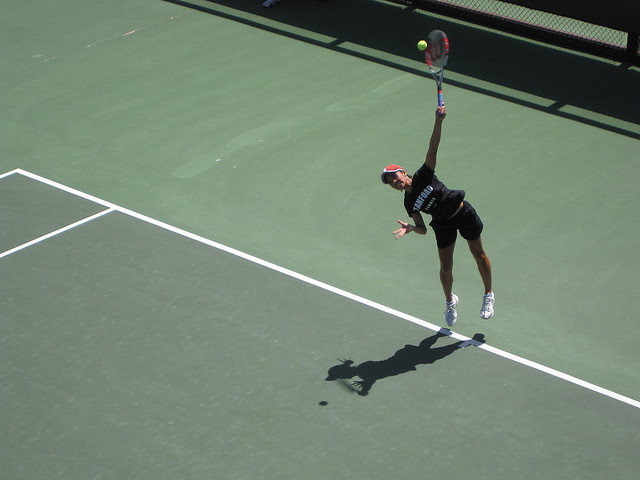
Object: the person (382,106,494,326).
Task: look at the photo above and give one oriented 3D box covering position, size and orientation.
[{"bbox_3d":[1.265,-0.090,8.906,1.219,2.234,0.744,0,36,3],"label":"person"}]
